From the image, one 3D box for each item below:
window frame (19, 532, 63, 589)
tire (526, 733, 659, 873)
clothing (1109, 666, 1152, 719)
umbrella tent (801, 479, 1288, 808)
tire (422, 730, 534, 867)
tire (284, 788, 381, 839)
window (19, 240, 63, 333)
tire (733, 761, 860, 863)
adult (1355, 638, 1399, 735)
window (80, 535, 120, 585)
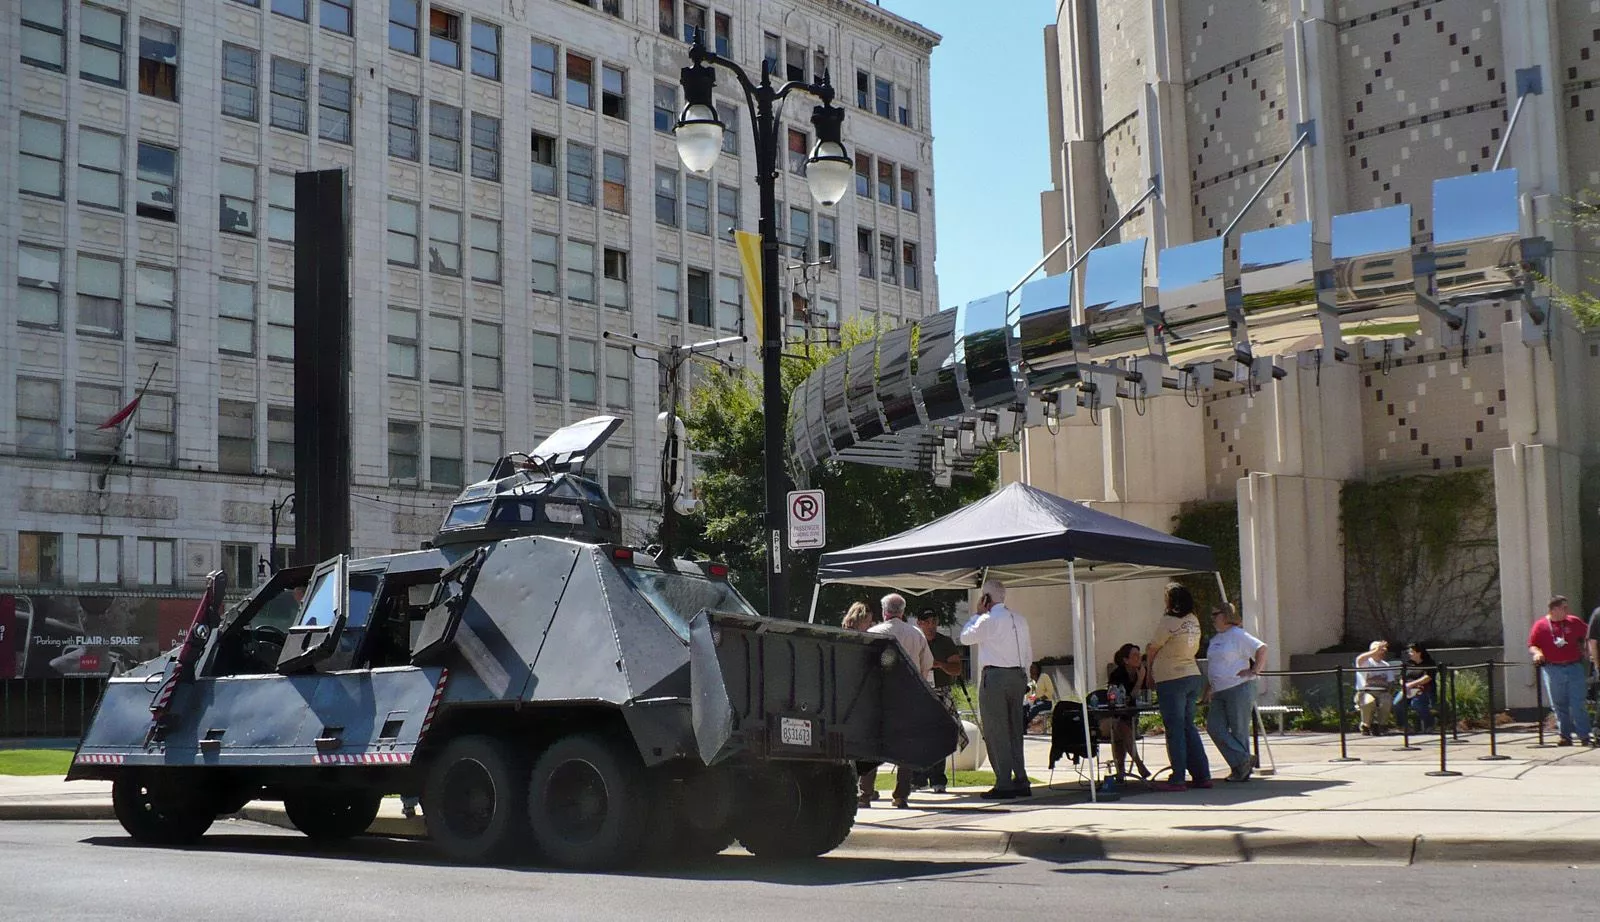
[{"bbox_3d":[-25.130,3.345,68.107,1.849,1.905,1.391,2,0,-26],"label":"window frame"},{"bbox_3d":[-3.410,5.809,34.700,2.132,2.136,0.752,5,-6,31],"label":"tire"},{"bbox_3d":[6.184,4.434,39.032,0.929,0.942,1.739,1,2,9],"label":"clothing"},{"bbox_3d":[3.764,2.990,40.295,6.465,4.514,6.342,1,0,-33],"label":"umbrella tent"},{"bbox_3d":[-5.421,5.804,35.205,1.927,1.936,0.653,10,-3,30],"label":"tire"},{"bbox_3d":[-8.660,6.547,38.090,1.323,1.318,0.348,12,6,-4],"label":"tire"},{"bbox_3d":[-25.228,-5.722,68.324,1.452,2.658,0.674,5,-14,-27],"label":"window"},{"bbox_3d":[-0.091,6.066,35.766,1.751,1.746,0.633,2,0,15],"label":"tire"},{"bbox_3d":[12.668,4.987,45.212,0.886,2.098,1.680,-5,-13,15],"label":"adult"},{"bbox_3d":[-23.452,3.351,68.770,1.588,1.561,0.164,6,-11,-44],"label":"window"}]
